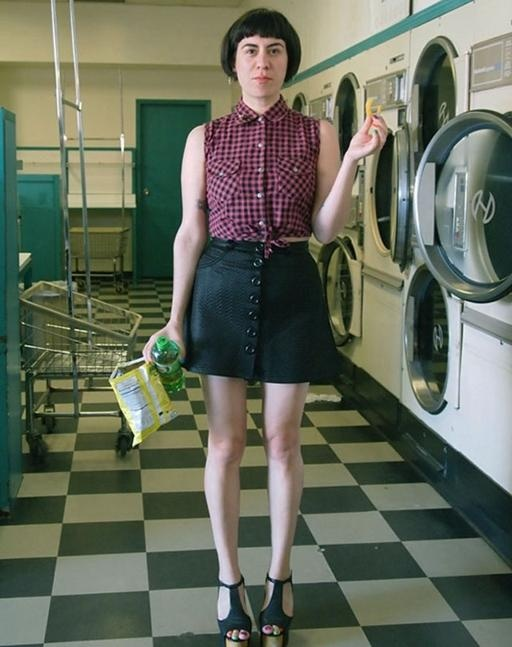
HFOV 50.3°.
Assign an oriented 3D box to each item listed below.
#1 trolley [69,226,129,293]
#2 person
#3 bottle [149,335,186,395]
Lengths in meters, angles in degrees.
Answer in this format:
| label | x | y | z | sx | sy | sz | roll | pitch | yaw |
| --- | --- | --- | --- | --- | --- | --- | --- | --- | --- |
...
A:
| label | x | y | z | sx | sy | sz | roll | pitch | yaw |
| --- | --- | --- | --- | --- | --- | --- | --- | --- | --- |
| trolley | -2.073 | -0.855 | 7.101 | 0.681 | 0.811 | 0.491 | 0 | 13 | -10 |
| person | 0.020 | 0.052 | 1.106 | 0.452 | 1.323 | 0.290 | 1 | 4 | 14 |
| bottle | -0.173 | 0.076 | 1.070 | 0.043 | 0.125 | 0.052 | 9 | 39 | 16 |
